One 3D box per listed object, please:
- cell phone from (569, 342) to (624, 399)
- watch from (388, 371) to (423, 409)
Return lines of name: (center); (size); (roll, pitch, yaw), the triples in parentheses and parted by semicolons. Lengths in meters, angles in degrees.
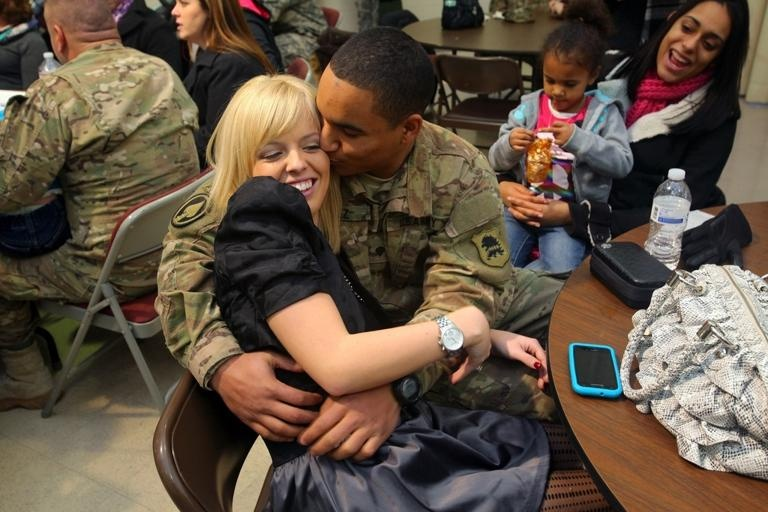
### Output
cell phone: (0.588, 0.323, 1.481); (0.161, 0.031, 0.232); (2, 35, 8)
watch: (0.070, 0.388, 1.600); (0.072, 0.105, 0.090); (-38, 22, -34)
